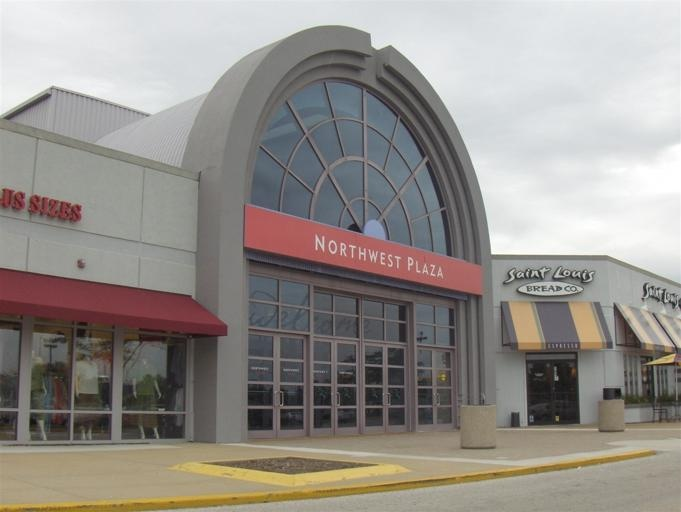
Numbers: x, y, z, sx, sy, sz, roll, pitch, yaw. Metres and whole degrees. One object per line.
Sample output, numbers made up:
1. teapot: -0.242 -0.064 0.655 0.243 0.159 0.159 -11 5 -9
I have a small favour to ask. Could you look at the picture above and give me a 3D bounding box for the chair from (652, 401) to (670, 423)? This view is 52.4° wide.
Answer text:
1. chair: 17.259 8.443 37.257 0.955 1.496 0.856 -11 -18 36
